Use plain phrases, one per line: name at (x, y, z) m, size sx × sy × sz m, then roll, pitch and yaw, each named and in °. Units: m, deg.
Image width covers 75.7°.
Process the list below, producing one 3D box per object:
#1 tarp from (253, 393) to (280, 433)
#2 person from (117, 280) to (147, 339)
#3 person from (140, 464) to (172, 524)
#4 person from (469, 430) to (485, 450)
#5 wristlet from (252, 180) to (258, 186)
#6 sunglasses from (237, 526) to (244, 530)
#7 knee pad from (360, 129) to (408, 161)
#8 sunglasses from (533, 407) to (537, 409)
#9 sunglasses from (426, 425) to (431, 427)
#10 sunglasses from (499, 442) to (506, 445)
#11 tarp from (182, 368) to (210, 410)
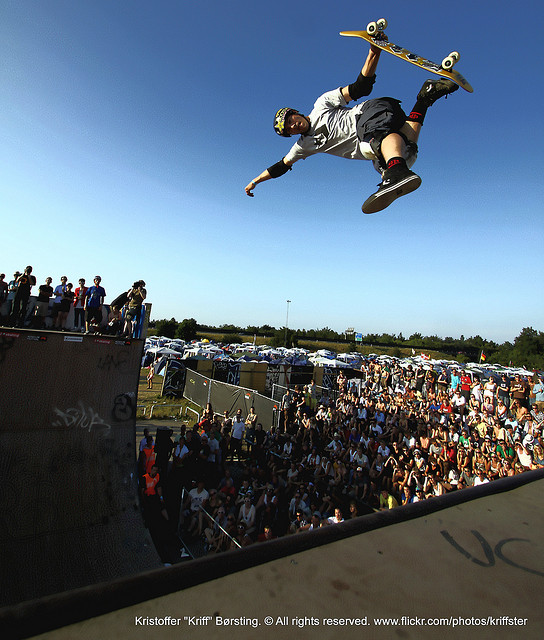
tarp at (-0.261, 3.644, 13.281) m, size 0.044 × 1.187 × 0.935 m, roll 3°, pitch -7°, yaw -36°
person at (-3.797, -0.251, 9.516) m, size 0.424 × 1.641 × 0.363 m, roll 3°, pitch -13°, yaw 46°
person at (-2.807, 4.221, 8.540) m, size 0.554 × 1.320 × 0.683 m, roll -4°, pitch 9°, yaw -36°
person at (5.417, 3.149, 9.349) m, size 0.213 × 0.532 × 0.734 m, roll -5°, pitch -13°, yaw 29°
wristlet at (-0.237, -1.860, 4.860) m, size 0.066 × 0.017 × 0.069 m, roll 24°, pitch 24°, yaw -51°
sunglasses at (-0.657, 4.372, 7.326) m, size 0.086 × 0.031 × 0.092 m, roll 3°, pitch -3°, yaw -8°
knee pad at (1.096, -1.788, 3.634) m, size 0.160 × 0.290 × 0.413 m, roll 37°, pitch 19°, yaw -34°
sunglasses at (8.263, 2.826, 11.032) m, size 0.073 × 0.035 × 0.085 m, roll -2°, pitch -13°, yaw 5°
sunglasses at (4.519, 3.095, 10.141) m, size 0.077 × 0.025 × 0.089 m, roll 0°, pitch 5°, yaw 4°
sunglasses at (5.936, 3.220, 9.041) m, size 0.102 × 0.058 × 0.055 m, roll 5°, pitch 2°, yaw 21°
tarp at (-4.211, 3.979, 19.770) m, size 0.021 × 1.552 × 2.244 m, roll -8°, pitch -30°, yaw 29°
